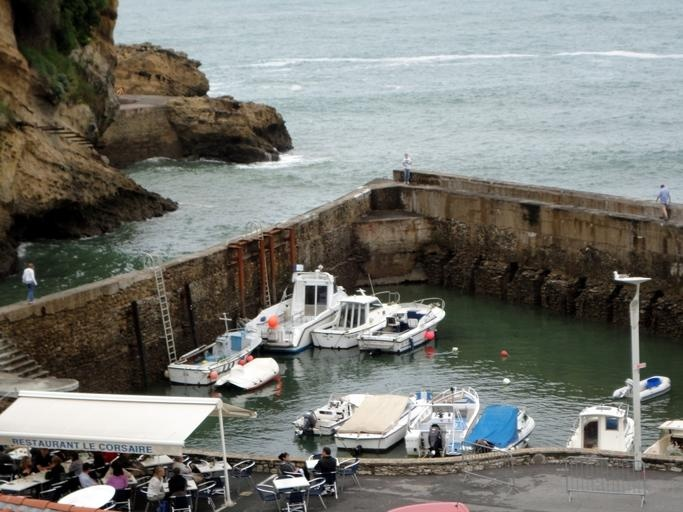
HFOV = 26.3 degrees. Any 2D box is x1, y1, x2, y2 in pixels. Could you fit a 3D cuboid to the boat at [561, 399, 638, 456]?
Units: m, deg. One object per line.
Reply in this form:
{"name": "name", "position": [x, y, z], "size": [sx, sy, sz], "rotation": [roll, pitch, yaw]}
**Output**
{"name": "boat", "position": [10.351, 6.925, 58.336], "size": [2.543, 1.705, 5.034], "rotation": [4, 4, 12]}

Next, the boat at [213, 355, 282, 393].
{"name": "boat", "position": [-3.774, 5.036, 63.050], "size": [1.467, 0.439, 2.162], "rotation": [10, 21, 29]}

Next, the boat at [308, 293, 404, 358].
{"name": "boat", "position": [0.755, 2.855, 67.952], "size": [2.260, 1.613, 6.251], "rotation": [8, 14, 24]}

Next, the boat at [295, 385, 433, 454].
{"name": "boat", "position": [1.477, 6.839, 59.627], "size": [4.545, 2.180, 4.804], "rotation": [-2, 5, 33]}

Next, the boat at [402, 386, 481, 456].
{"name": "boat", "position": [4.402, 6.697, 58.811], "size": [1.696, 0.899, 4.278], "rotation": [5, 23, 22]}

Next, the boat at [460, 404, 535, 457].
{"name": "boat", "position": [6.225, 6.964, 58.036], "size": [2.511, 1.416, 4.691], "rotation": [8, 19, 19]}

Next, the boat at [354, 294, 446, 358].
{"name": "boat", "position": [3.186, 3.281, 67.499], "size": [2.586, 1.463, 5.698], "rotation": [5, 15, 33]}

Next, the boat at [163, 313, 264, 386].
{"name": "boat", "position": [-5.338, 4.013, 64.022], "size": [2.754, 1.773, 4.876], "rotation": [9, 25, 35]}
